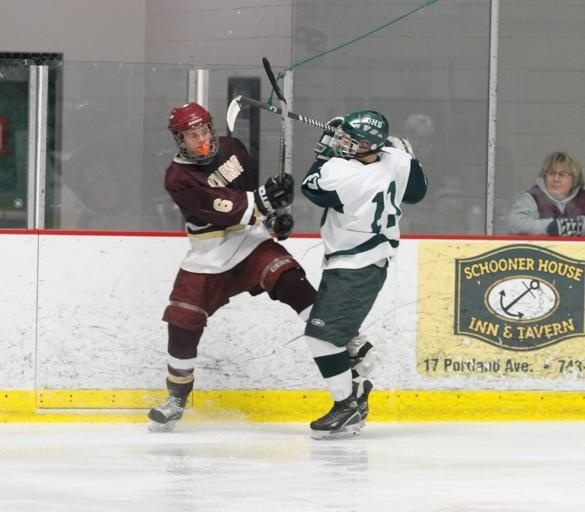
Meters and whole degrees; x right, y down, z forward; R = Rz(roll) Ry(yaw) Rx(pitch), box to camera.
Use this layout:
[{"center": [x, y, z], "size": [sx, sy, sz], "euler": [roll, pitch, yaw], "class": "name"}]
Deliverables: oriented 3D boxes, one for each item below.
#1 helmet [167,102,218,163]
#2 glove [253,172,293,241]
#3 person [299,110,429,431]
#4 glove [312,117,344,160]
[{"center": [-0.505, -0.621, 6.111], "size": [0.254, 0.300, 0.123], "euler": [5, 5, 9], "class": "helmet"}, {"center": [-0.080, -0.245, 6.023], "size": [0.227, 0.280, 0.109], "euler": [24, -31, -27], "class": "glove"}, {"center": [0.305, 0.098, 6.067], "size": [0.615, 1.642, 0.347], "euler": [5, 5, -5], "class": "person"}, {"center": [0.187, -0.597, 6.131], "size": [0.169, 0.201, 0.187], "euler": [0, -4, 4], "class": "glove"}]
